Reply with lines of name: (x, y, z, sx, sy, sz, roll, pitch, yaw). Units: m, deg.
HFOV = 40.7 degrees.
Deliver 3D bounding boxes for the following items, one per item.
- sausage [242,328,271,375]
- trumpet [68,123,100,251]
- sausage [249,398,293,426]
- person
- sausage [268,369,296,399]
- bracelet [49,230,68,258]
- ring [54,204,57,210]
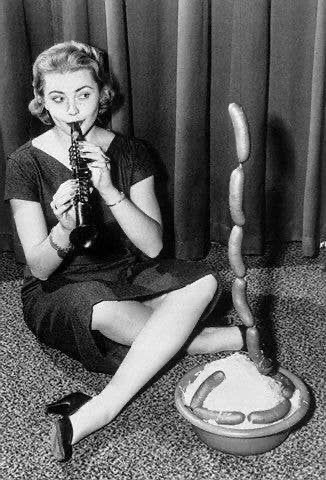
sausage: (0.184, 0.197, 0.822, 0.033, 0.089, 0.047, -30, 22, -26)
trumpet: (-0.156, -0.105, 0.871, 0.062, 0.071, 0.324, 2, 54, -13)
sausage: (0.181, 0.286, 0.726, 0.088, 0.024, 0.027, -19, 32, -23)
person: (-0.014, -0.123, 1.188, 0.640, 0.855, 0.785, -19, 28, -25)
sausage: (0.218, 0.259, 0.792, 0.026, 0.017, 0.046, 7, 15, -13)
bracelet: (-0.220, 0.010, 0.921, 0.039, 0.050, 0.016, 21, 44, 14)
ring: (-0.208, -0.064, 0.852, 0.004, 0.008, 0.015, -16, 31, -18)
